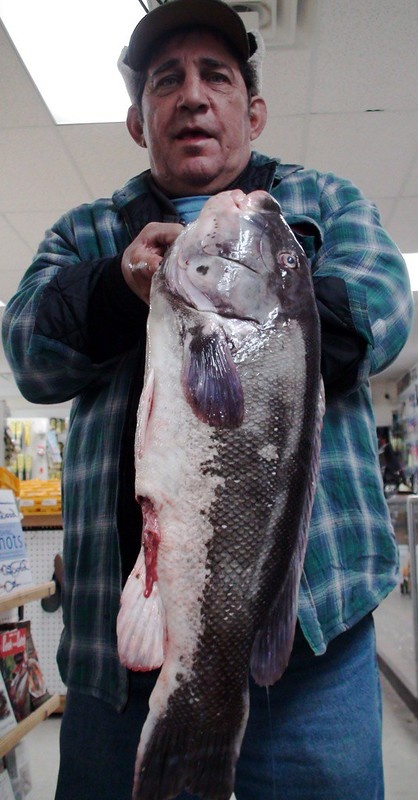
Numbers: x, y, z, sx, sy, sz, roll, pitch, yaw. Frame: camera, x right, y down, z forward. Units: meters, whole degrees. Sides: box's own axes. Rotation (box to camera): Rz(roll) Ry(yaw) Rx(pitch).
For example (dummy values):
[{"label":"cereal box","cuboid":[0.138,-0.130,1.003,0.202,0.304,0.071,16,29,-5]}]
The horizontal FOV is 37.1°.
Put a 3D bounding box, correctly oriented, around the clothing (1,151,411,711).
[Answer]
[{"label":"clothing","cuboid":[0.009,-0.007,1.122,0.648,0.932,0.213,3,-11,22]}]
